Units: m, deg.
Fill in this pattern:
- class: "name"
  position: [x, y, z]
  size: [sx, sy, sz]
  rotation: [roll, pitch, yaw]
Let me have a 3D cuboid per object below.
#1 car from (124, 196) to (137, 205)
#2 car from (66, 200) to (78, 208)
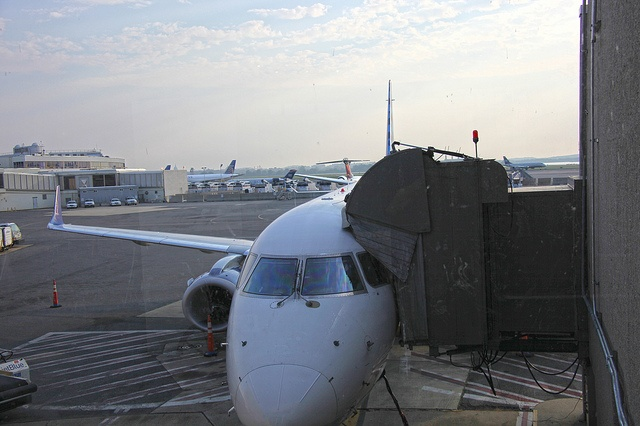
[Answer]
- class: "car"
  position: [-30.170, -1.960, 107.959]
  size: [1.626, 1.140, 2.574]
  rotation: [-1, 0, -21]
- class: "car"
  position: [-37.190, -1.298, 101.701]
  size: [1.087, 0.775, 1.780]
  rotation: [-1, -1, -16]
